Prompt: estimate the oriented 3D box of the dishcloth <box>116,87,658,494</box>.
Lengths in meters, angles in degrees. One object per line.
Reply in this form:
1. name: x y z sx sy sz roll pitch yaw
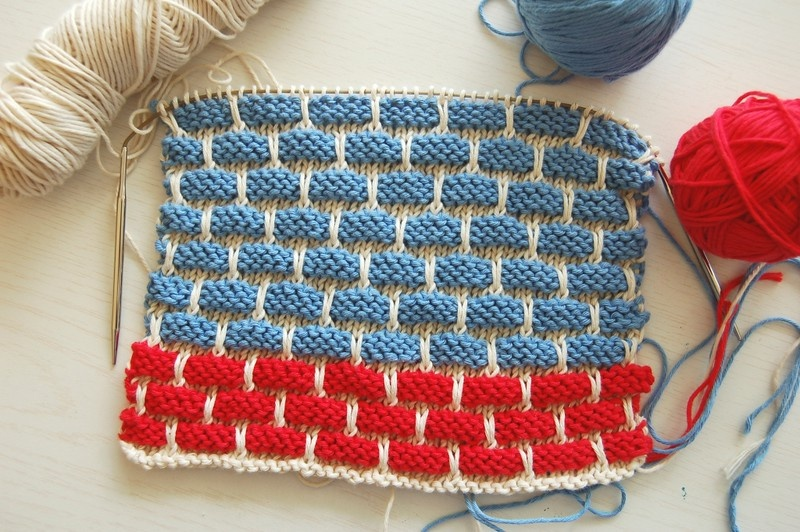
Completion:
1. dishcloth: -0.014 0.049 2.091 1.195 0.135 0.904 3 81 3
